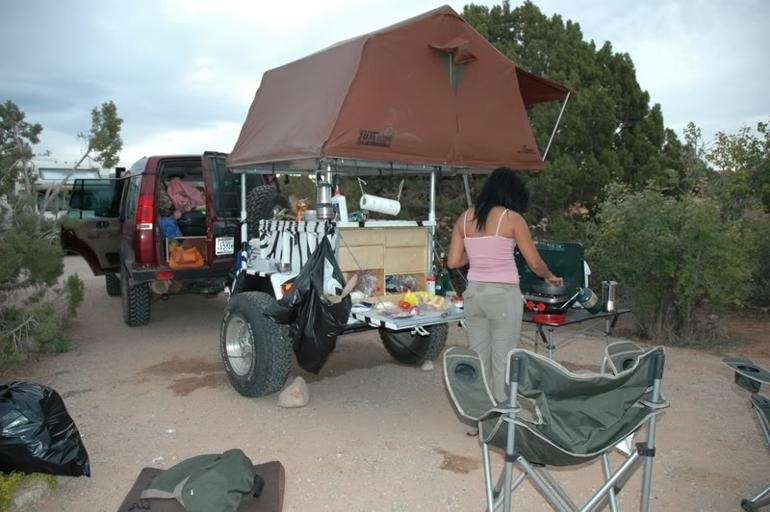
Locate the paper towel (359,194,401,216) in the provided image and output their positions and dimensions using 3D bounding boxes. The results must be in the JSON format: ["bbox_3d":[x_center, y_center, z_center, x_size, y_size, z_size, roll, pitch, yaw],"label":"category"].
[{"bbox_3d":[-0.082,-0.661,7.545,0.471,0.342,0.773,-1,14,-3],"label":"paper towel"}]

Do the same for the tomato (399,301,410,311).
[{"bbox_3d":[0.229,0.592,6.878,0.133,0.085,0.089,7,15,26],"label":"tomato"}]

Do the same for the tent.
[{"bbox_3d":[0.153,-2.178,7.520,3.811,2.081,1.770,-3,13,-13],"label":"tent"}]

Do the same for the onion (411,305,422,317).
[{"bbox_3d":[0.367,0.668,6.847,0.096,0.035,0.086,15,21,41],"label":"onion"}]

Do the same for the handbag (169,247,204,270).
[{"bbox_3d":[-3.358,0.022,9.674,0.609,0.263,0.572,-3,14,-11],"label":"handbag"}]

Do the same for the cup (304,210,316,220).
[{"bbox_3d":[-0.951,-0.500,7.290,0.121,0.104,0.128,2,-4,0],"label":"cup"}]

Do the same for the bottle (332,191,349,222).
[{"bbox_3d":[-0.549,-0.599,7.064,0.193,0.361,0.329,-3,13,-15],"label":"bottle"}]

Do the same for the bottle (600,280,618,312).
[{"bbox_3d":[2.951,0.543,7.601,0.220,0.429,0.350,1,-10,8],"label":"bottle"}]

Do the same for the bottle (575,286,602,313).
[{"bbox_3d":[2.666,0.601,7.601,0.238,0.140,0.230,44,0,0],"label":"bottle"}]
